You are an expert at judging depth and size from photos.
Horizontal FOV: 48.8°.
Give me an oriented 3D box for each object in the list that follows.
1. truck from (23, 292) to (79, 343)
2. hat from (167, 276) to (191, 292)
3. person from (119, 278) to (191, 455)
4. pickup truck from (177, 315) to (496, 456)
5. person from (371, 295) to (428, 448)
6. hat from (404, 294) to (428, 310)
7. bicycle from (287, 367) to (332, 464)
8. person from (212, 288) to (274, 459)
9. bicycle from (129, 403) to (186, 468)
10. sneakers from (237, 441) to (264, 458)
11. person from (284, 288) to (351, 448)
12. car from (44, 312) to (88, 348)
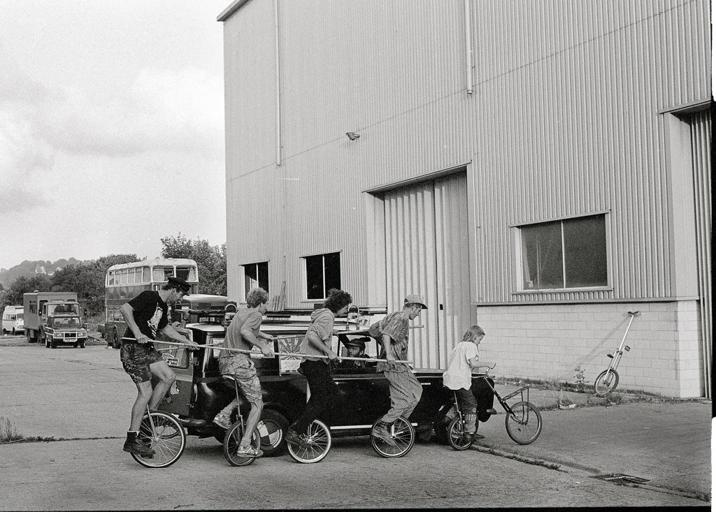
[{"bbox_3d":[-19.636,4.046,51.690,3.152,3.680,6.130,0,-4,-28],"label":"truck"},{"bbox_3d":[-2.775,0.445,12.258,0.276,0.134,0.237,7,-7,-40],"label":"hat"},{"bbox_3d":[-3.158,1.677,12.086,0.927,2.738,0.510,3,-5,-19],"label":"person"},{"bbox_3d":[-0.782,1.629,13.278,4.078,1.870,2.329,-2,2,-21],"label":"pickup truck"},{"bbox_3d":[0.664,1.850,12.854,0.815,2.440,0.607,1,-5,0],"label":"person"},{"bbox_3d":[1.033,0.752,13.188,0.513,0.281,0.376,1,1,-20],"label":"hat"},{"bbox_3d":[-0.747,2.428,12.322,0.699,1.580,0.521,2,-5,-11],"label":"bicycle"},{"bbox_3d":[-1.741,1.771,12.198,0.841,2.597,0.480,2,-5,-9],"label":"person"},{"bbox_3d":[-3.084,2.782,12.085,0.958,1.025,0.244,22,19,-17],"label":"bicycle"},{"bbox_3d":[-1.647,2.947,12.103,0.365,0.184,0.163,-1,3,-25],"label":"sneakers"},{"bbox_3d":[-0.613,1.726,12.499,0.756,2.416,0.873,-2,-7,37],"label":"person"},{"bbox_3d":[-16.890,4.207,45.538,2.023,1.744,3.457,2,-1,-28],"label":"car"}]
